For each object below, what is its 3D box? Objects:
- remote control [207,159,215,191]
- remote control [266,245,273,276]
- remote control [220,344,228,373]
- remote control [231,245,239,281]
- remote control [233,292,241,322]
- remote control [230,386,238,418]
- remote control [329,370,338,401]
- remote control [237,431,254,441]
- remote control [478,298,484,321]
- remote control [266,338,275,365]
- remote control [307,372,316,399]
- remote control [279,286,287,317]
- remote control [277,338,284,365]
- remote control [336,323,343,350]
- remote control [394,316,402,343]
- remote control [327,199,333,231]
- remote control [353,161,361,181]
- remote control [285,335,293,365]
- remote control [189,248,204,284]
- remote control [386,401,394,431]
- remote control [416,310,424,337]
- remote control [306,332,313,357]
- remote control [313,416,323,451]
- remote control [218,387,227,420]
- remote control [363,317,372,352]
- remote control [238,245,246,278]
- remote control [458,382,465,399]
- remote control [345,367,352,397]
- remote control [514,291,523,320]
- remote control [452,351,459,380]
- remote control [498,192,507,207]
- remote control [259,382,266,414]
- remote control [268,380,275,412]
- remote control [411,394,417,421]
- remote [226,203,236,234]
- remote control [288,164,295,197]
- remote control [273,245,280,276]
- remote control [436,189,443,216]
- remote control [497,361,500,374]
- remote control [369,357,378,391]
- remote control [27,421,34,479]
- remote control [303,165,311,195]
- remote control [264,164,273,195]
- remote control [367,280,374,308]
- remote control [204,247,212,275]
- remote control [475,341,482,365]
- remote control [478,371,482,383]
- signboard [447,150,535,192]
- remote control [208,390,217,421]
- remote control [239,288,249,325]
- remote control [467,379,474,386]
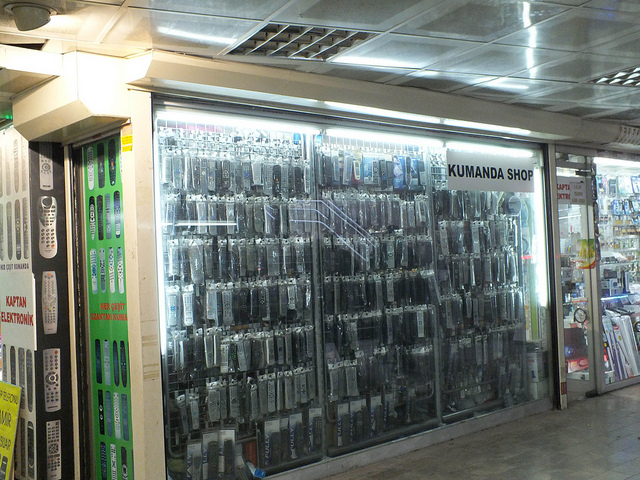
[{"bbox_3d":[-0.961,-0.573,5.142,0.066,0.262,0.027,-1,-6,-39],"label":"remote control"},{"bbox_3d":[-0.462,0.183,5.365,0.058,0.277,0.030,-4,-5,-18],"label":"remote control"},{"bbox_3d":[-0.848,1.027,5.126,0.081,0.240,0.015,-2,-5,-29],"label":"remote control"},{"bbox_3d":[-0.760,0.194,5.215,0.053,0.303,0.032,-4,-5,-17],"label":"remote control"},{"bbox_3d":[-0.743,0.589,5.208,0.078,0.257,0.029,-3,-5,-20],"label":"remote control"},{"bbox_3d":[-0.762,1.402,5.144,0.076,0.258,0.021,-1,-6,-43],"label":"remote control"},{"bbox_3d":[0.127,1.380,5.618,0.095,0.291,0.031,-1,-6,-40],"label":"remote control"},{"bbox_3d":[-0.670,1.708,5.196,0.167,0.044,0.040,-8,14,-34],"label":"remote control"},{"bbox_3d":[1.815,0.768,6.615,0.100,0.238,0.020,-2,-6,-35],"label":"remote control"},{"bbox_3d":[-0.456,1.002,5.334,0.079,0.236,0.020,-1,-6,-41],"label":"remote control"},{"bbox_3d":[-0.088,1.358,5.517,0.080,0.244,0.019,-2,-6,-34],"label":"remote control"},{"bbox_3d":[-0.346,0.559,5.412,0.084,0.275,0.031,-2,-6,-37],"label":"remote control"},{"bbox_3d":[-0.368,1.007,5.383,0.064,0.232,0.021,-2,-6,-36],"label":"remote control"},{"bbox_3d":[0.191,0.929,5.685,0.062,0.240,0.019,-2,-6,-35],"label":"remote control"},{"bbox_3d":[0.796,0.904,5.994,0.087,0.267,0.021,-3,-5,-24],"label":"remote control"},{"bbox_3d":[0.097,-0.237,5.695,0.063,0.289,0.028,-1,-6,-38],"label":"remote control"},{"bbox_3d":[0.363,-0.688,5.846,0.090,0.184,0.030,-1,-6,-39],"label":"remote control"},{"bbox_3d":[-0.295,1.004,5.421,0.070,0.268,0.020,-1,-6,-39],"label":"remote control"},{"bbox_3d":[-1.069,0.225,5.049,0.123,0.473,0.039,-7,-39,-14],"label":"remote control"},{"bbox_3d":[0.700,1.748,5.892,0.115,0.282,0.016,-2,-6,-34],"label":"remote control"},{"bbox_3d":[1.050,0.864,6.133,0.090,0.279,0.017,-2,-6,-33],"label":"remote control"},{"bbox_3d":[-0.102,0.977,5.529,0.062,0.230,0.016,-1,-6,-40],"label":"remote control"},{"bbox_3d":[-0.029,1.795,5.499,0.108,0.311,0.024,-3,-5,-25],"label":"remote control"},{"bbox_3d":[-0.851,1.403,5.094,0.074,0.263,0.016,-1,-6,-40],"label":"remote control"},{"bbox_3d":[0.468,0.927,5.829,0.123,0.326,0.021,-3,-5,-26],"label":"remote control"},{"bbox_3d":[-0.705,0.182,5.238,0.078,0.265,0.034,-2,-6,-37],"label":"remote control"},{"bbox_3d":[1.535,1.619,6.375,0.086,0.165,0.018,-1,-6,-42],"label":"remote control"},{"bbox_3d":[0.274,1.372,5.696,0.085,0.278,0.018,-3,-5,-28],"label":"remote control"},{"bbox_3d":[2.351,0.766,6.934,0.157,0.321,0.026,-2,-6,-33],"label":"remote control"},{"bbox_3d":[1.466,1.340,6.365,0.058,0.309,0.049,4,-2,-20],"label":"remote control"},{"bbox_3d":[2.121,-0.472,6.828,0.129,0.159,0.013,-3,-5,-29],"label":"remote control"},{"bbox_3d":[-0.522,1.410,5.279,0.068,0.278,0.019,-4,-5,-17],"label":"remote control"},{"bbox_3d":[-0.451,1.406,5.317,0.071,0.276,0.018,-2,-6,-35],"label":"remote control"},{"bbox_3d":[0.967,1.700,6.029,0.086,0.259,0.016,-2,-6,-33],"label":"remote control"},{"bbox_3d":[-0.805,-0.191,5.211,0.090,0.273,0.023,-1,-6,-39],"label":"remote"},{"bbox_3d":[-0.278,-0.551,5.497,0.068,0.297,0.030,-2,-6,-35],"label":"remote control"},{"bbox_3d":[-0.409,0.187,5.395,0.074,0.274,0.032,-3,-5,-24],"label":"remote control"},{"bbox_3d":[1.292,-0.408,6.354,0.093,0.260,0.038,-1,-6,-39],"label":"remote control"},{"bbox_3d":[2.043,1.442,6.714,0.046,0.129,0.007,-2,-6,-37],"label":"remote control"},{"bbox_3d":[0.527,1.323,5.836,0.106,0.316,0.029,-2,-6,-36],"label":"remote control"},{"bbox_3d":[-2.569,1.845,5.183,0.027,0.498,0.172,-1,-6,-39],"label":"remote control"},{"bbox_3d":[-0.128,-0.570,5.573,0.070,0.264,0.027,-2,-6,-36],"label":"remote control"},{"bbox_3d":[-0.480,-0.555,5.393,0.092,0.276,0.025,-2,-6,-35],"label":"remote control"},{"bbox_3d":[0.504,0.533,5.872,0.085,0.273,0.026,-2,-6,-35],"label":"remote control"},{"bbox_3d":[-0.974,0.178,5.093,0.069,0.232,0.022,-1,-7,-44],"label":"remote control"},{"bbox_3d":[1.771,1.244,6.553,0.102,0.254,0.020,-1,-6,-41],"label":"remote control"},{"bbox_3d":[1.788,1.509,6.544,0.061,0.117,0.007,-2,-6,-34],"label":"remote control"},{"bbox_3d":[2.092,-0.760,6.794,1.556,0.531,0.027,0,-4,-29],"label":"signboard"},{"bbox_3d":[-0.927,1.407,5.040,0.081,0.241,0.016,-1,-6,-40],"label":"remote control"},{"bbox_3d":[-0.688,0.586,5.242,0.082,0.320,0.037,-1,-6,-38],"label":"remote control"},{"bbox_3d":[1.667,1.552,6.467,0.085,0.085,0.046,1,-1,-20],"label":"remote control"}]
